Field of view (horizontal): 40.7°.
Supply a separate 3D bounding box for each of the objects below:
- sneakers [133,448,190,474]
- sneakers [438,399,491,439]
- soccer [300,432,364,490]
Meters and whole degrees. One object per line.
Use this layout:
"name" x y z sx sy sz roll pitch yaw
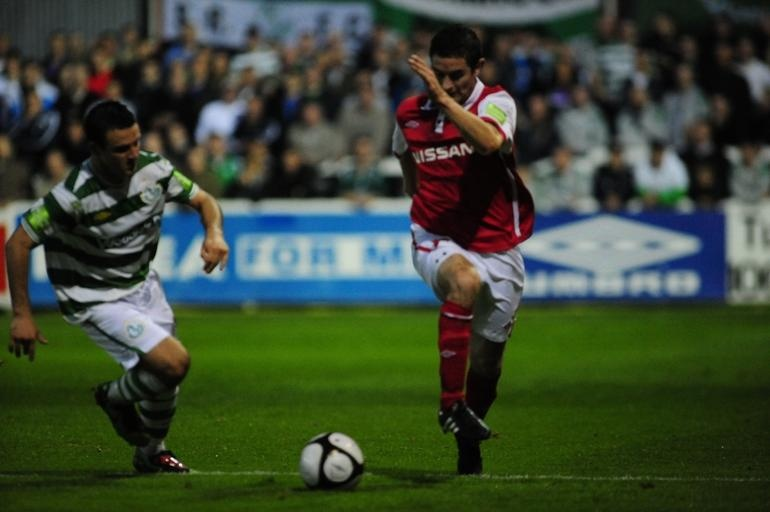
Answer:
"sneakers" -1.800 1.643 8.317 0.500 0.206 0.177 2 -10 0
"sneakers" 0.611 1.250 7.930 0.384 0.292 0.169 0 10 2
"soccer" -0.431 1.606 7.981 0.556 0.515 0.522 7 -7 -15
